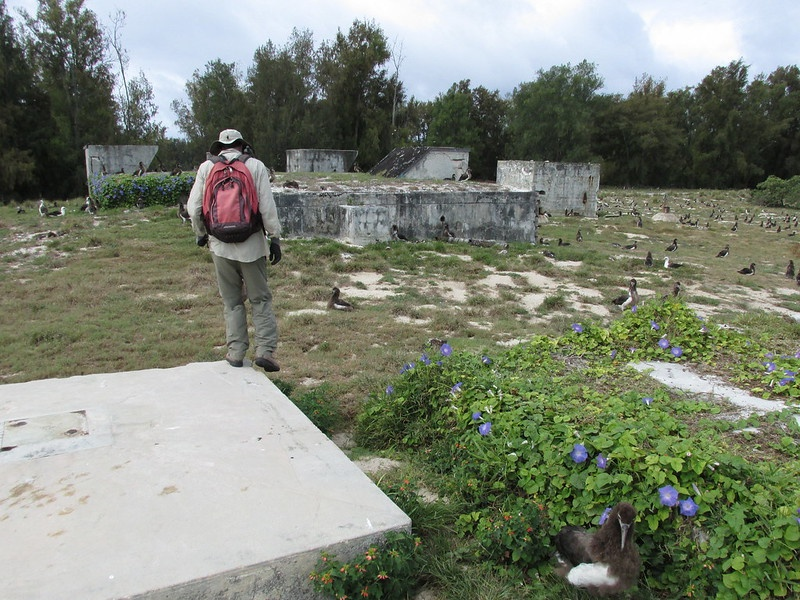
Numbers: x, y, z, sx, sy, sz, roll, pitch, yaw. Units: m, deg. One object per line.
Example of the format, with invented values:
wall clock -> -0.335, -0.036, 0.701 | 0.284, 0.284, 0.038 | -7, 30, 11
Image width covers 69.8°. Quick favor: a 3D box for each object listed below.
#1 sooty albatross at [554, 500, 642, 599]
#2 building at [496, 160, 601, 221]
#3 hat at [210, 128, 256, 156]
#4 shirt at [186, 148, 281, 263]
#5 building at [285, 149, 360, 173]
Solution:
sooty albatross -> 1.127, 1.426, 3.368 | 0.295, 0.535, 0.478 | -12, 17, -43
building -> 6.391, -4.972, 24.334 | 3.365, 2.271, 3.315 | -9, 19, -35
hat -> -1.568, -1.466, 5.299 | 0.274, 0.140, 0.315 | -2, -11, -18
shirt -> -1.475, -0.849, 5.091 | 0.811, 0.966, 0.537 | -1, 12, -2
building -> -3.388, -5.964, 24.612 | 2.366, 1.249, 1.747 | -1, 7, -15
